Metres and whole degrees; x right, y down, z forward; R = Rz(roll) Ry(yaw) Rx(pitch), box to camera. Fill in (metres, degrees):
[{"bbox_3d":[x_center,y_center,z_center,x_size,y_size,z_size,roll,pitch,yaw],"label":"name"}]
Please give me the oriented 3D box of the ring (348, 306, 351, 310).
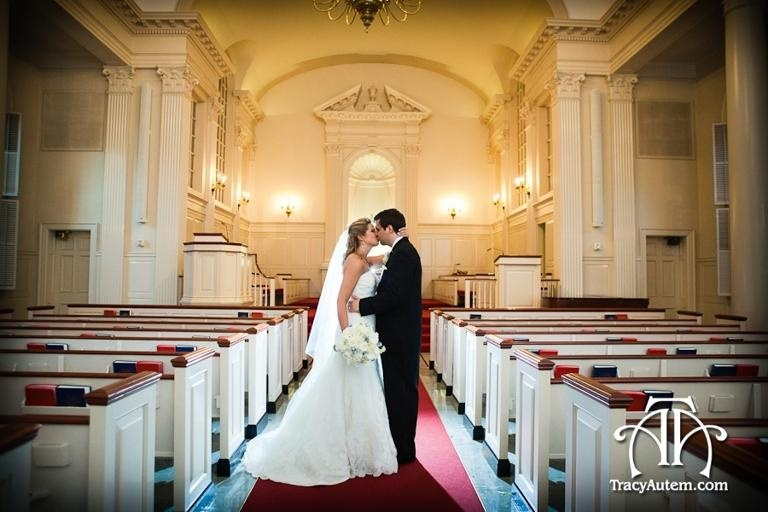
[{"bbox_3d":[-0.385,0.570,6.252,0.023,0.034,0.010,6,0,0],"label":"ring"}]
